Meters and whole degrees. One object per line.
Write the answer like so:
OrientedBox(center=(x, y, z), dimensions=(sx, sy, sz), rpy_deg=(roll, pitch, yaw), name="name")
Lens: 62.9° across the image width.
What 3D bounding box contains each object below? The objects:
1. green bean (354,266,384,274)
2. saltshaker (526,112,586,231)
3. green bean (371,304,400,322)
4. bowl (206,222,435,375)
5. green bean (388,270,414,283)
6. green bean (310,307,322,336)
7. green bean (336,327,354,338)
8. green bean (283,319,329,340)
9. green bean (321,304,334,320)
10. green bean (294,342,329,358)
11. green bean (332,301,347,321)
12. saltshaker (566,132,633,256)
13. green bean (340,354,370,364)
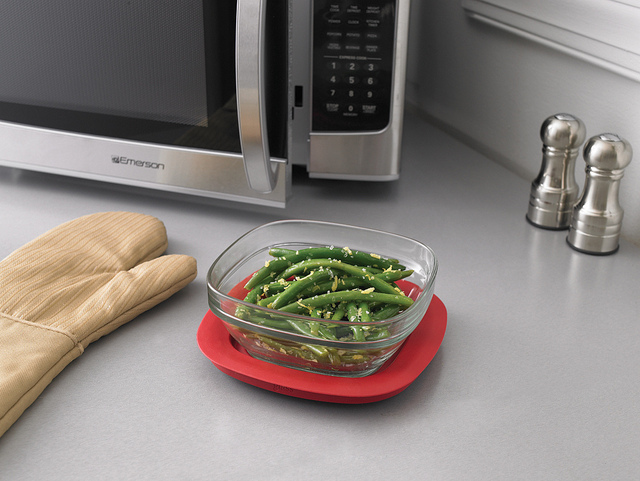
OrientedBox(center=(0.054, 0.030, 0.524), dimensions=(0.013, 0.003, 0.012), rpy_deg=(-2, 18, -22), name="green bean")
OrientedBox(center=(0.340, -0.099, 0.728), dimensions=(0.089, 0.157, 0.079), rpy_deg=(3, 24, 19), name="saltshaker")
OrientedBox(center=(0.061, 0.066, 0.482), dimensions=(0.025, 0.005, 0.006), rpy_deg=(-25, 8, -17), name="green bean")
OrientedBox(center=(0.004, 0.054, 0.525), dimensions=(0.208, 0.087, 0.173), rpy_deg=(6, 29, 14), name="bowl")
OrientedBox(center=(0.080, 0.035, 0.518), dimensions=(0.023, 0.004, 0.004), rpy_deg=(-24, 72, -24), name="green bean")
OrientedBox(center=(-0.003, 0.073, 0.462), dimensions=(0.006, 0.022, 0.006), rpy_deg=(8, -12, -11), name="green bean")
OrientedBox(center=(0.021, 0.079, 0.456), dimensions=(0.012, 0.008, 0.013), rpy_deg=(-8, -1, -41), name="green bean")
OrientedBox(center=(-0.010, 0.076, 0.447), dimensions=(0.047, 0.006, 0.005), rpy_deg=(19, 29, 25), name="green bean")
OrientedBox(center=(0.010, 0.066, 0.491), dimensions=(0.013, 0.005, 0.013), rpy_deg=(-3, 38, -1), name="green bean")
OrientedBox(center=(-0.007, 0.093, 0.458), dimensions=(0.035, 0.008, 0.008), rpy_deg=(18, 0, 24), name="green bean")
OrientedBox(center=(0.019, 0.064, 0.485), dimensions=(0.006, 0.006, 0.027), rpy_deg=(18, 22, 2), name="green bean")
OrientedBox(center=(0.368, -0.069, 0.693), dimensions=(0.075, 0.155, 0.106), rpy_deg=(2, 31, 7), name="saltshaker")
OrientedBox(center=(0.030, 0.104, 0.460), dimensions=(0.017, 0.005, 0.011), rpy_deg=(5, 30, 16), name="green bean")
